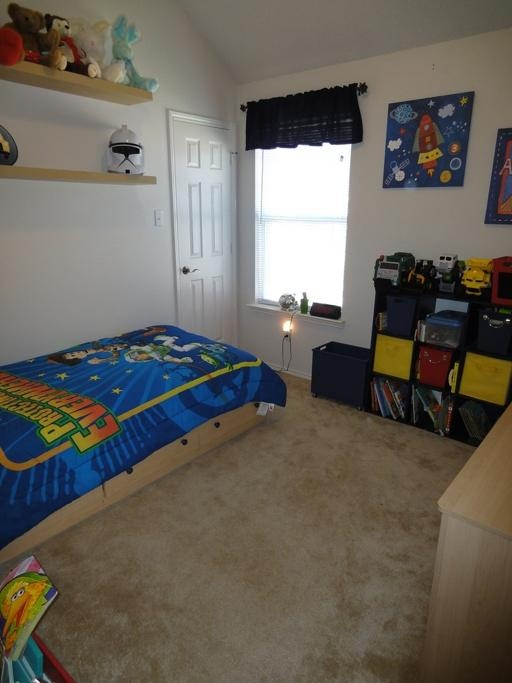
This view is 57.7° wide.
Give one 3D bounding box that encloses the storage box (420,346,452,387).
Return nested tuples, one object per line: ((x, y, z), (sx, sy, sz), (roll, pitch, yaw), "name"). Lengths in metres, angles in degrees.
((1.127, 0.150, 2.930), (0.151, 0.246, 0.189), (-10, 16, -41), "storage box")

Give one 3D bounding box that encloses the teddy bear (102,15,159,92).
((-0.759, -1.646, 2.684), (0.278, 0.397, 0.249), (7, 10, 35), "teddy bear")

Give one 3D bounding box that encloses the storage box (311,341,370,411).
((0.649, 0.261, 3.506), (0.410, 0.392, 0.238), (15, 21, 31), "storage box")

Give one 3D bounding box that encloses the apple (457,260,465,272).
((1.248, -0.461, 2.851), (0.054, 0.081, 0.057), (1, 12, 15), "apple")

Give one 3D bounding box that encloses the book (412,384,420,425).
((1.056, 0.411, 3.125), (0.026, 0.282, 0.233), (4, 10, 26), "book")

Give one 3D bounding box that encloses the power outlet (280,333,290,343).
((0.258, -0.034, 4.055), (0.053, 0.103, 0.067), (1, 0, 14), "power outlet")

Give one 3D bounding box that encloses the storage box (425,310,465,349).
((1.171, -0.078, 2.924), (0.166, 0.173, 0.277), (9, 14, 39), "storage box")

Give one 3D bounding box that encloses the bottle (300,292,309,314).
((0.398, -0.323, 3.896), (0.071, 0.174, 0.079), (4, 14, 5), "bottle")

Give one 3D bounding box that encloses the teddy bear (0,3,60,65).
((-1.054, -1.456, 2.229), (0.214, 0.245, 0.213), (-8, 18, -37), "teddy bear")
